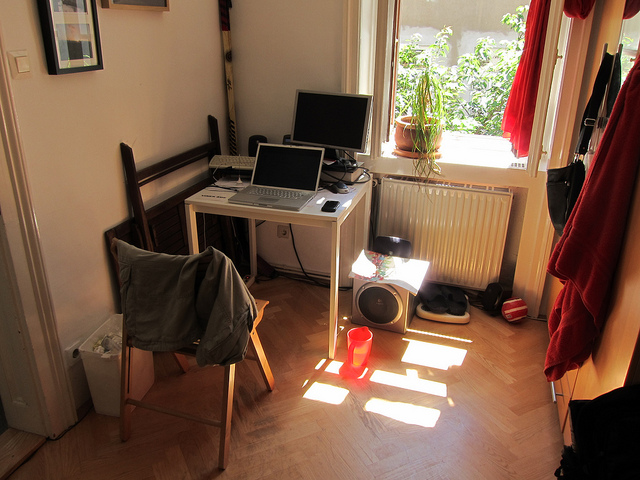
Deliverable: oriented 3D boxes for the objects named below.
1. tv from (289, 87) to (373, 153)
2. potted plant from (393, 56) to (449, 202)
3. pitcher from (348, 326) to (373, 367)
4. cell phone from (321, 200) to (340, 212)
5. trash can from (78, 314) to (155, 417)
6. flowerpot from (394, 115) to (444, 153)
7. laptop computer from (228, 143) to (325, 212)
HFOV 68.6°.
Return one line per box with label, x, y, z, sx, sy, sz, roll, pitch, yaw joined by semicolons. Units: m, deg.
tv;0.079;-0.771;3.057;0.421;0.326;0.047;11;14;16
potted plant;0.734;-0.798;3.400;0.359;0.875;0.585;6;25;8
pitcher;0.249;0.619;2.878;0.138;0.211;0.222;6;26;15
cell phone;0.063;-0.200;2.727;0.089;0.025;0.131;8;27;11
trash can;-1.073;0.648;2.424;0.235;0.422;0.425;6;25;8
flowerpot;0.689;-0.749;3.282;0.273;0.183;0.288;7;23;13
laptop computer;-0.256;-0.404;2.841;0.473;0.297;0.453;10;21;22
